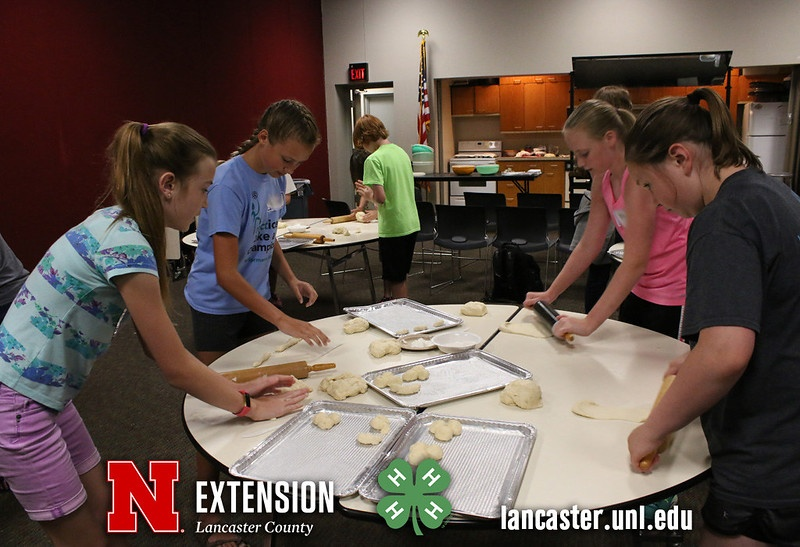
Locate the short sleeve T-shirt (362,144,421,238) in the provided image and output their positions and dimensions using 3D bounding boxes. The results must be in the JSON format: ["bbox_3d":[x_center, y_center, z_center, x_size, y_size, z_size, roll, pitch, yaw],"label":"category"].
[{"bbox_3d":[-0.070,-0.702,4.468,0.413,0.747,0.414,0,21,9],"label":"short sleeve T-shirt"}]

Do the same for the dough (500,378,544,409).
[{"bbox_3d":[0.420,0.400,1.833,0.101,0.036,0.100,5,17,41],"label":"dough"}]

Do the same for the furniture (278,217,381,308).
[{"bbox_3d":[-0.725,0.002,4.870,0.956,0.536,1.012,4,34,9],"label":"furniture"}]

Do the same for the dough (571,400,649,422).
[{"bbox_3d":[0.699,0.460,1.763,0.162,0.032,0.097,2,9,21],"label":"dough"}]

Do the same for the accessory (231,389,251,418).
[{"bbox_3d":[-0.530,0.439,1.776,0.029,0.072,0.072,11,8,-38],"label":"accessory"}]

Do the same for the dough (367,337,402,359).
[{"bbox_3d":[-0.061,0.304,2.195,0.095,0.035,0.071,-4,11,-15],"label":"dough"}]

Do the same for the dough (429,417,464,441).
[{"bbox_3d":[0.148,0.482,1.686,0.066,0.022,0.066,-11,23,-28],"label":"dough"}]

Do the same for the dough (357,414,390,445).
[{"bbox_3d":[-0.077,0.501,1.703,0.056,0.020,0.096,3,20,23],"label":"dough"}]

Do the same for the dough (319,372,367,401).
[{"bbox_3d":[-0.215,0.403,1.941,0.099,0.032,0.098,-9,13,-33],"label":"dough"}]
